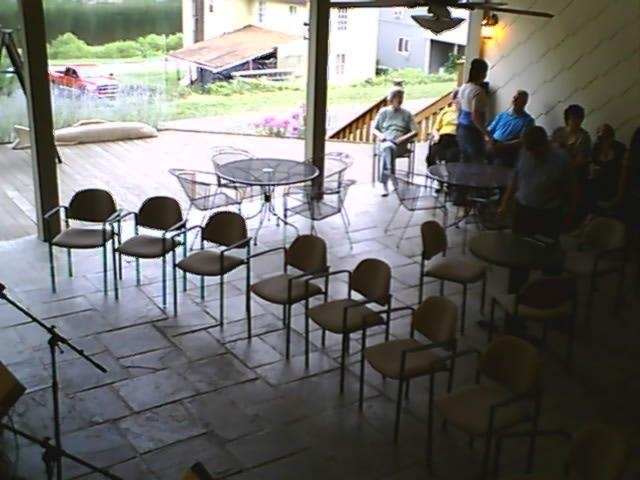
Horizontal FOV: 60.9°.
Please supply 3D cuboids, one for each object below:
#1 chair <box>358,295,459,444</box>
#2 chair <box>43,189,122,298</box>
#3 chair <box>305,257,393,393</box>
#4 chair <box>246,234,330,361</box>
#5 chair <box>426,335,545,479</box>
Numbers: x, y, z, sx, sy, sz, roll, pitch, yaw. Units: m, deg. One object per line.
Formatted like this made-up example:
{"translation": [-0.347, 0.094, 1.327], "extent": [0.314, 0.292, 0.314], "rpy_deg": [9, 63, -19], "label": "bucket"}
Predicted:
{"translation": [0.702, 1.076, 4.320], "extent": [0.714, 1.026, 0.836], "rpy_deg": [-6, 16, -24], "label": "chair"}
{"translation": [-2.558, 0.022, 5.993], "extent": [0.765, 1.008, 0.776], "rpy_deg": [11, 17, 19], "label": "chair"}
{"translation": [0.254, 0.804, 4.826], "extent": [0.761, 1.046, 0.837], "rpy_deg": [-10, 19, -31], "label": "chair"}
{"translation": [-0.276, 0.513, 5.192], "extent": [0.758, 0.981, 0.661], "rpy_deg": [12, 21, 27], "label": "chair"}
{"translation": [1.184, 1.251, 3.904], "extent": [0.649, 1.007, 0.750], "rpy_deg": [-9, 18, -26], "label": "chair"}
